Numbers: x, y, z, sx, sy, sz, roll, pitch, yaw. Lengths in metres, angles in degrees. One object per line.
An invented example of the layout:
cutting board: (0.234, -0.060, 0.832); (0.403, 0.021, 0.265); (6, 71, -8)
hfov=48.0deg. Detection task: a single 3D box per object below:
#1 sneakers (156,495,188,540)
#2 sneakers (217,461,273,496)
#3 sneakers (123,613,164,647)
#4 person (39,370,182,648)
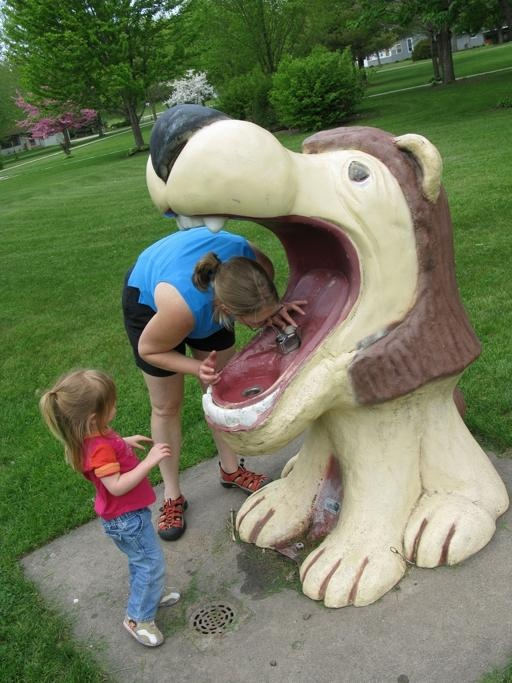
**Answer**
sneakers: (-0.408, 0.846, 2.781); (0.093, 0.086, 0.233); (-13, 11, 7)
sneakers: (-0.070, 0.702, 2.983); (0.286, 0.126, 0.109); (3, 15, 33)
sneakers: (-0.411, 1.065, 2.148); (0.167, 0.069, 0.071); (19, -2, 29)
person: (-0.482, 0.582, 2.115); (0.394, 1.043, 0.403); (-25, 23, -22)
